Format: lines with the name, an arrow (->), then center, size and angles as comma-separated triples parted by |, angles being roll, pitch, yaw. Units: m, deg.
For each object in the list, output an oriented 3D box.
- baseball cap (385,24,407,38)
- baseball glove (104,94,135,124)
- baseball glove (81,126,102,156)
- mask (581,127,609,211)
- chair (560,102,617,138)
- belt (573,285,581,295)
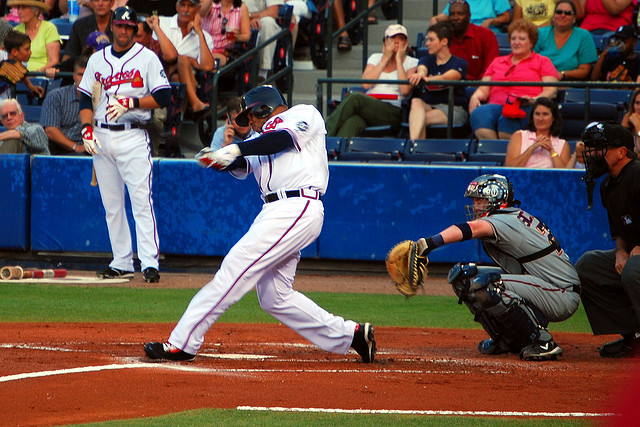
baseball cap -> 1.060, -2.615, 16.581 | 0.285, 0.164, 0.305 | 0, 14, -6
baseball glove -> -2.406, -1.274, 14.033 | 0.350, 0.340, 0.174 | -2, 15, -14
baseball glove -> -2.750, -0.821, 14.140 | 0.119, 0.221, 0.405 | 29, -8, -6
mask -> 2.871, -0.494, 12.217 | 0.279, 0.827, 0.269 | 1, -1, 7
chair -> 3.542, -1.352, 15.875 | 0.625, 0.818, 0.609 | 1, -2, 7
belt -> 2.632, 0.751, 12.045 | 0.083, 0.075, 0.021 | 16, -9, -34
